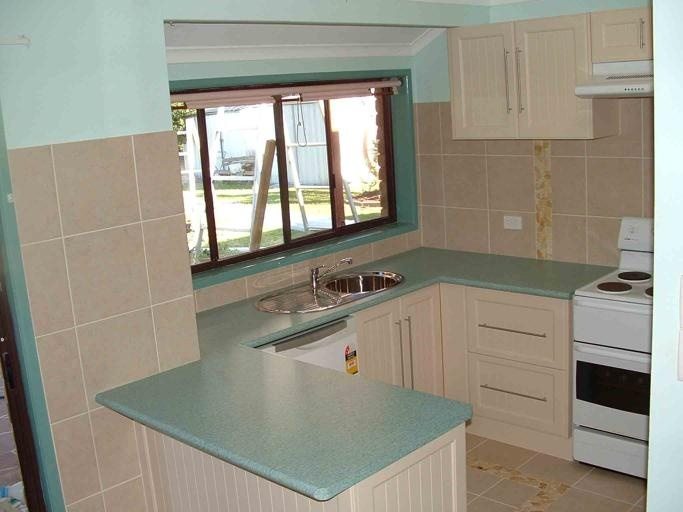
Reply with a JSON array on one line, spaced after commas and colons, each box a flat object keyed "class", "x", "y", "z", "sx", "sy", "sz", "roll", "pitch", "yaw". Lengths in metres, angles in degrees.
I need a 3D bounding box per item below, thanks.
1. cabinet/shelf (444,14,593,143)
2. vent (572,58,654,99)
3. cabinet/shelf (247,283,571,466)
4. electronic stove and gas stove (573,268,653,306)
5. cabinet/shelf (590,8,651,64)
[{"class": "cabinet/shelf", "x": 1.204, "y": -1.187, "z": 3.691, "sx": 0.936, "sy": 0.730, "sz": 0.361, "roll": 7, "pitch": 15, "yaw": 39}, {"class": "vent", "x": 1.589, "y": -1.043, "z": 3.249, "sx": 0.410, "sy": 0.225, "sz": 0.353, "roll": 1, "pitch": 11, "yaw": 25}, {"class": "cabinet/shelf", "x": 0.620, "y": 0.683, "z": 3.602, "sx": 1.358, "sy": 0.790, "sz": 1.369, "roll": 8, "pitch": 14, "yaw": 40}, {"class": "electronic stove and gas stove", "x": 1.669, "y": 0.234, "z": 3.369, "sx": 0.311, "sy": 0.074, "sz": 0.334, "roll": 6, "pitch": 18, "yaw": 38}, {"class": "cabinet/shelf", "x": 1.655, "y": -1.297, "z": 3.270, "sx": 0.365, "sy": 0.290, "sz": 0.209, "roll": 6, "pitch": 15, "yaw": 45}]
